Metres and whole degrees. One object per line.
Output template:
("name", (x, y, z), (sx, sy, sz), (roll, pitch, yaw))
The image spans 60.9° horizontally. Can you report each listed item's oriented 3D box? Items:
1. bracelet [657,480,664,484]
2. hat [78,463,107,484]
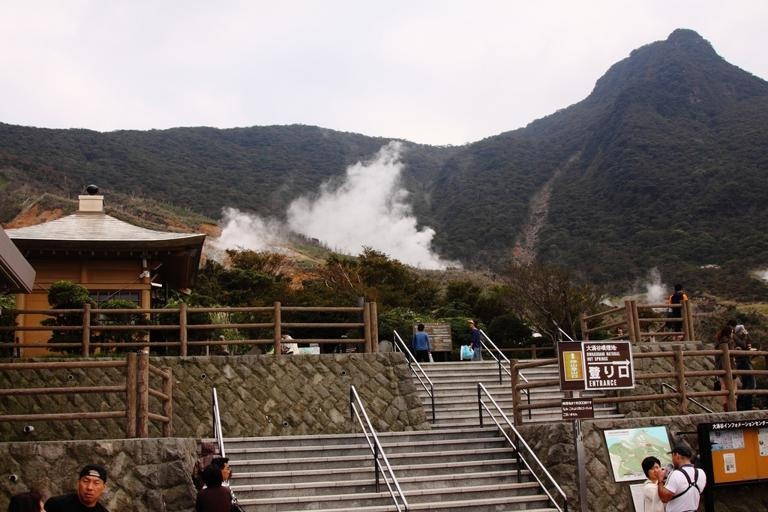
("bracelet", (4.525, 3.681, 10.602), (0.052, 0.028, 0.061), (0, 0, -11))
("hat", (-4.221, 3.156, 9.565), (0.391, 0.207, 0.388), (-8, -20, 38))
